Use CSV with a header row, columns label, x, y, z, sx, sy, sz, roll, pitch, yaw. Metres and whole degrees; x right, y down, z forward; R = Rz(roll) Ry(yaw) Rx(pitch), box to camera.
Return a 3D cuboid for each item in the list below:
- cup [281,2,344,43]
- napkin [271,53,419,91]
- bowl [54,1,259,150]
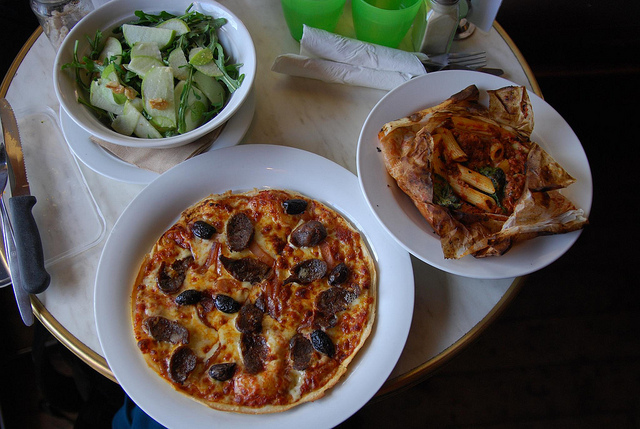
label,x,y,z,sx,sy,sz,roll,pitch,yaw
cup,-0.029,-1.099,2.838,0.255,0.201,0.244,1,66,-3
napkin,0.139,-0.822,2.928,0.856,0.194,0.151,9,101,2
bowl,-0.835,-0.733,2.683,1.001,0.224,0.866,8,77,1
